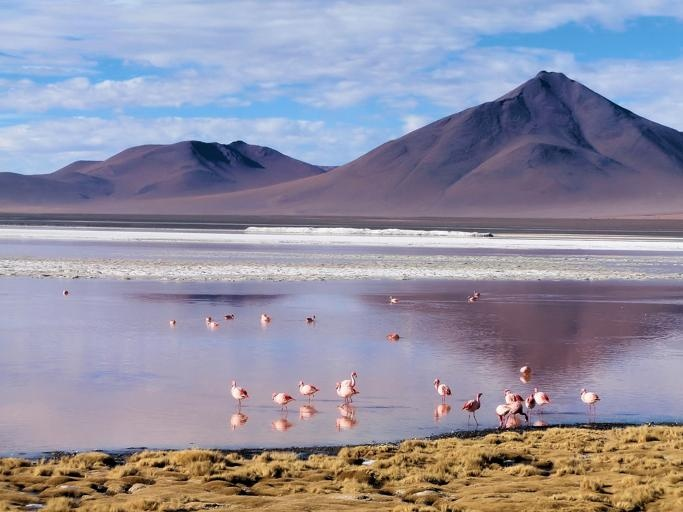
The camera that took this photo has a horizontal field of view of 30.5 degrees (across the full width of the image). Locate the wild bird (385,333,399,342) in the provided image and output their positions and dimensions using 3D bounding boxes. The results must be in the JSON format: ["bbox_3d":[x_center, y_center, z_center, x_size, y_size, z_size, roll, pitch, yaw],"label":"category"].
[{"bbox_3d":[1.518,2.393,36.356,0.223,0.123,0.272,-6,3,-30],"label":"wild bird"}]

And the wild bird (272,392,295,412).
[{"bbox_3d":[-1.356,3.472,30.241,0.323,0.412,0.648,-11,3,-44],"label":"wild bird"}]

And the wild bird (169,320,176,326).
[{"bbox_3d":[-5.077,2.055,37.974,0.195,0.130,0.163,0,-5,-1],"label":"wild bird"}]
